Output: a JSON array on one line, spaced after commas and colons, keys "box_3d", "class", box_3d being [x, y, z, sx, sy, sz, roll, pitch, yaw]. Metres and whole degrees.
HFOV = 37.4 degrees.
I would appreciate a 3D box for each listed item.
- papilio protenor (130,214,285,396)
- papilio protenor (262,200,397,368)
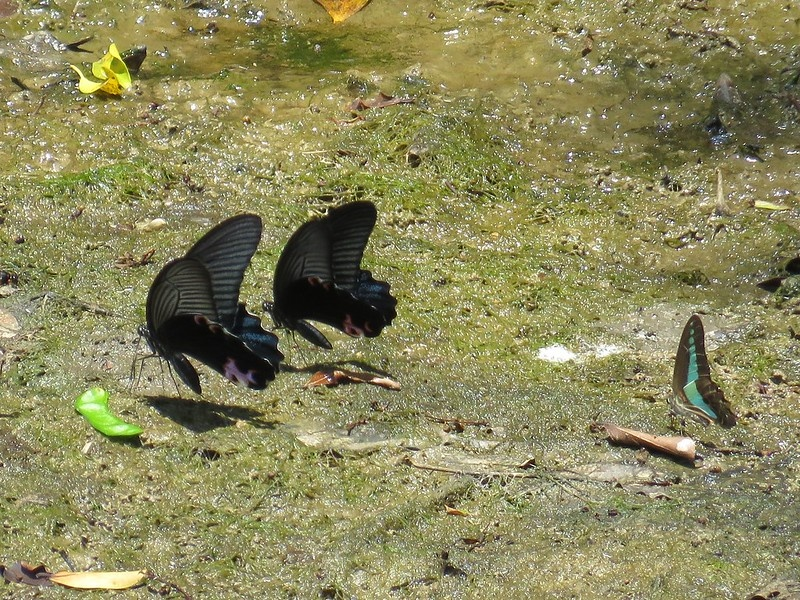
[{"box_3d": [-1.486, 0.074, 9.232, 0.979, 1.255, 0.788, -7, -9, -3], "class": "papilio protenor"}, {"box_3d": [-0.534, -0.210, 9.793, 1.467, 1.153, 0.871, -8, 30, -32], "class": "papilio protenor"}]
